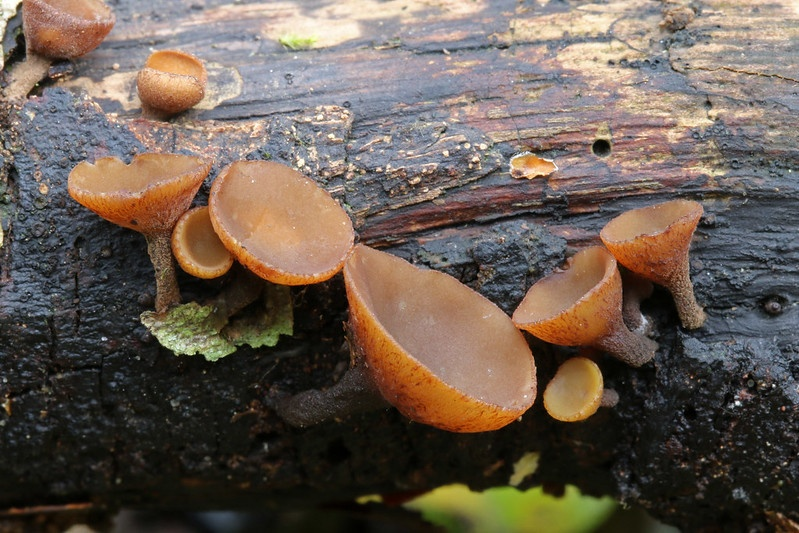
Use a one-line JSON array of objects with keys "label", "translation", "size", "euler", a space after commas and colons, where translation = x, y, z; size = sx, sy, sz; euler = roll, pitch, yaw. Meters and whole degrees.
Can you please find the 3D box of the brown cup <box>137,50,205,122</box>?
[{"label": "brown cup", "translation": [-1.178, -0.981, 4.509], "size": [0.426, 0.362, 0.370], "euler": [-9, 66, -15]}]
